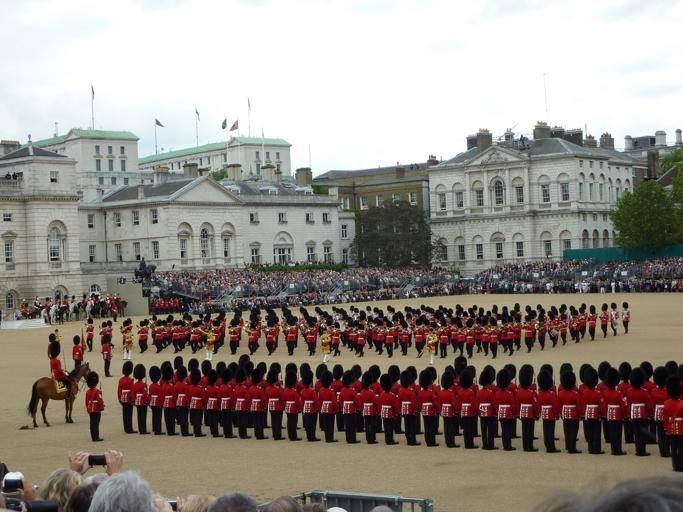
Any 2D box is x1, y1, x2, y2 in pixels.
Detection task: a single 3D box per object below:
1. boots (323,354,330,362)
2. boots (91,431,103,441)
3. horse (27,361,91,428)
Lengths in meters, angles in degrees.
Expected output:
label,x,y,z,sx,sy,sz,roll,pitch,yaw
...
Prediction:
label,x,y,z,sx,sy,sz,roll,pitch,yaw
boots,-0.620,4.351,64.255,0.144,0.230,0.454,-12,-22,6
boots,-8.124,6.059,51.523,0.446,0.430,0.218,-5,14,-30
horse,-9.733,4.902,53.673,2.618,2.086,0.715,-4,6,-41
